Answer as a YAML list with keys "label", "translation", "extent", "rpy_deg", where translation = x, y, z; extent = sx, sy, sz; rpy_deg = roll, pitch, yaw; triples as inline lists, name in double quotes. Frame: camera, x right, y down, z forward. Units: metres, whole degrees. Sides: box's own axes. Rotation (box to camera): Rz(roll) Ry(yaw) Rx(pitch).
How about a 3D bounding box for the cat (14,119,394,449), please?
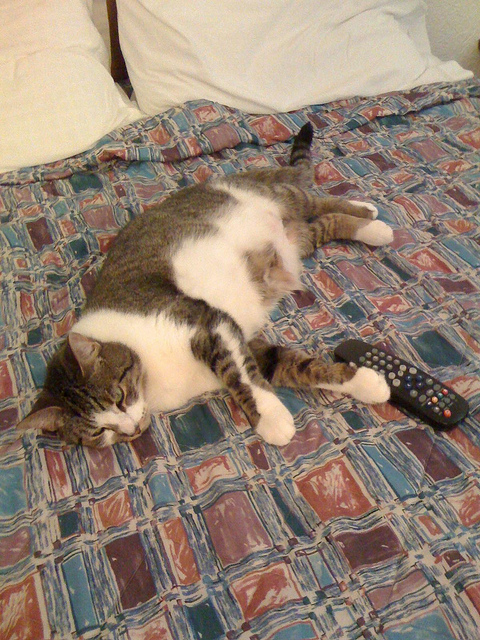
- label: "cat"
  translation: [-0.078, -0.066, 1.665]
  extent: [0.727, 0.251, 0.913]
  rpy_deg: [7, 55, 26]

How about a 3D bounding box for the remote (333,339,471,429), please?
- label: "remote"
  translation: [0.371, 0.159, 1.400]
  extent: [0.351, 0.066, 0.116]
  rpy_deg: [33, 64, 31]
